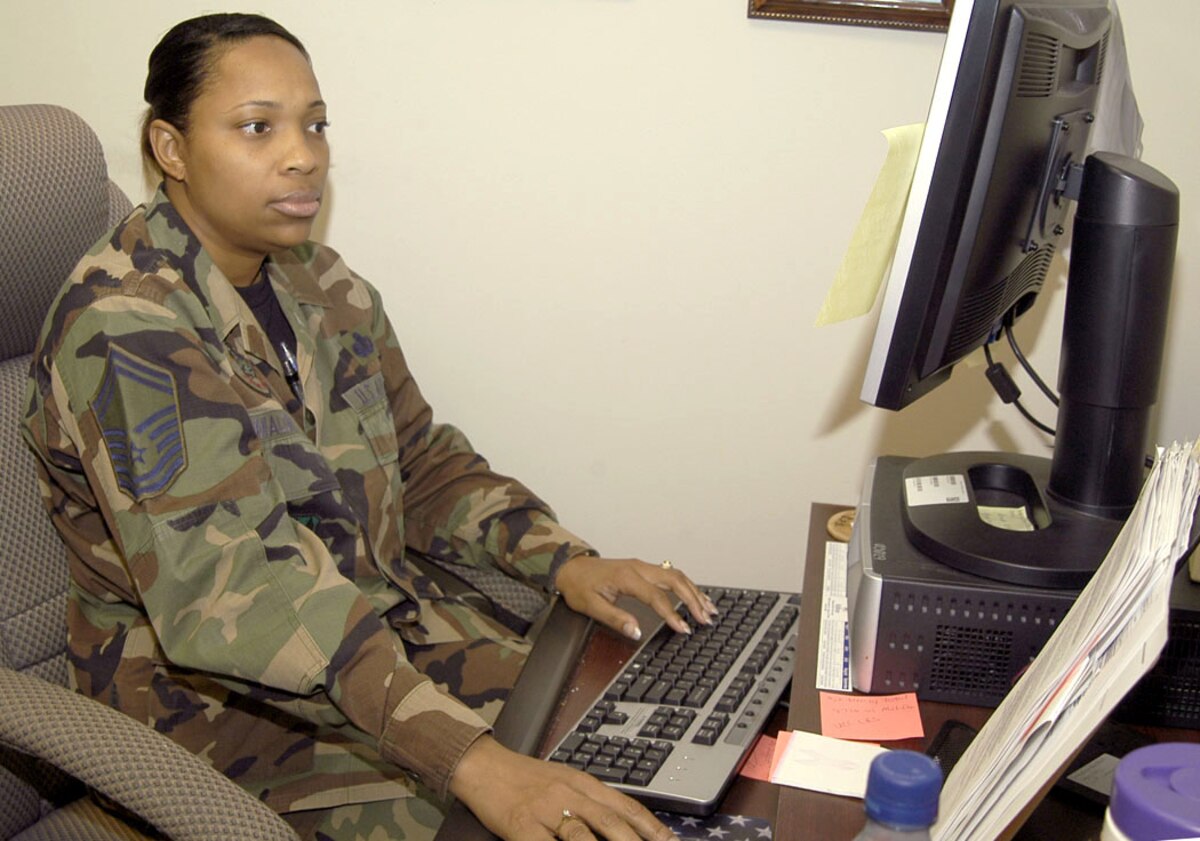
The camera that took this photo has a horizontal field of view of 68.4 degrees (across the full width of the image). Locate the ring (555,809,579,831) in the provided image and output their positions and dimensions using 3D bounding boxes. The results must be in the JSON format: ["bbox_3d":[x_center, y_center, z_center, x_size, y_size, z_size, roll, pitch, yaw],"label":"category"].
[{"bbox_3d":[-0.029,0.399,0.889,0.017,0.010,0.012,3,21,5],"label":"ring"}]

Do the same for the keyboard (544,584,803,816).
[{"bbox_3d":[0.121,0.314,1.084,0.195,0.039,0.459,1,16,25],"label":"keyboard"}]
